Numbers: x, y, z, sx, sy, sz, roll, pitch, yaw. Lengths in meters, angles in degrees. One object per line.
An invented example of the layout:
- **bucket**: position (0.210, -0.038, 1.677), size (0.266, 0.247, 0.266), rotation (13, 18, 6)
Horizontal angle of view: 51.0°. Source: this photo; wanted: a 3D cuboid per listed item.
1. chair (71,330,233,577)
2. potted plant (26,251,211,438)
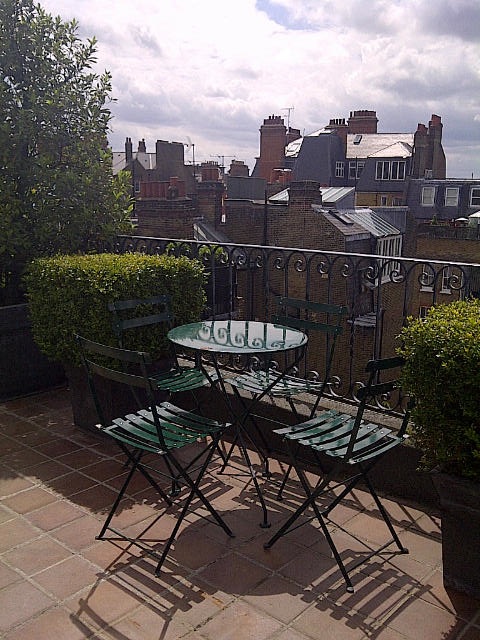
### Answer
- **chair**: position (-0.567, 0.841, 3.154), size (0.663, 1.337, 0.682), rotation (17, 28, 38)
- **potted plant**: position (-1.224, -0.126, 4.875), size (1.407, 1.981, 1.538), rotation (-7, 13, -41)
